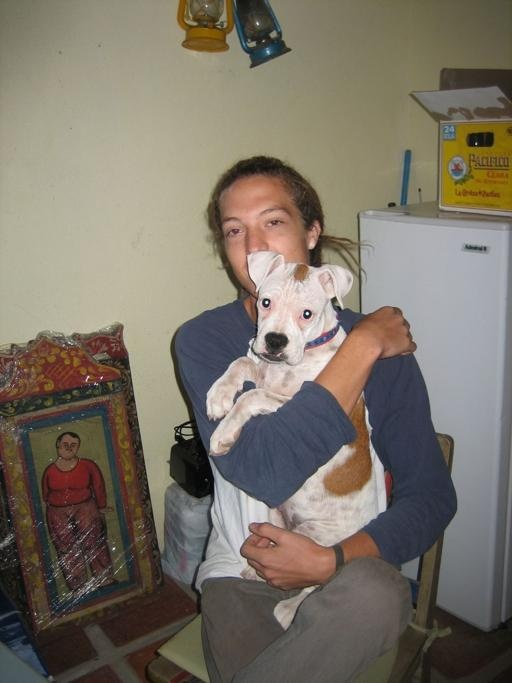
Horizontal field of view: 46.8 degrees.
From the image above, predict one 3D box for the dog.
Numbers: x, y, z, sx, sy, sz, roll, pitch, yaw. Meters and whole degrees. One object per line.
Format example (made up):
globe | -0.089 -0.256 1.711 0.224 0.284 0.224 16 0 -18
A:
dog | 0.095 0.218 1.400 0.299 0.851 0.402 5 18 38
